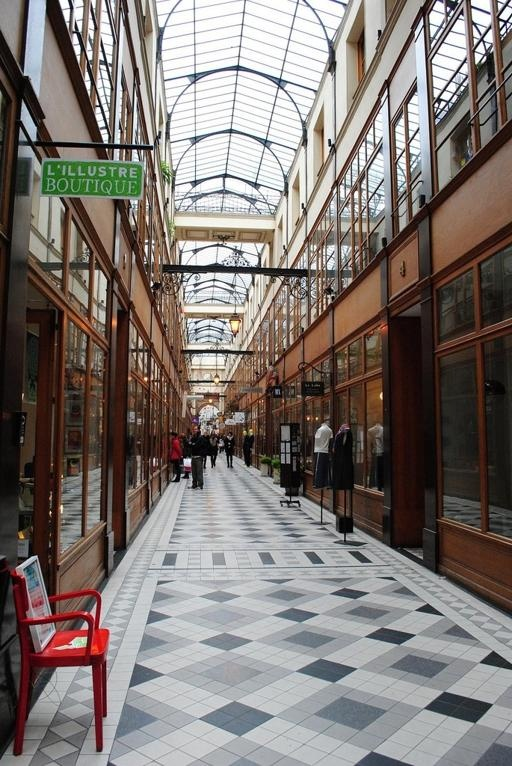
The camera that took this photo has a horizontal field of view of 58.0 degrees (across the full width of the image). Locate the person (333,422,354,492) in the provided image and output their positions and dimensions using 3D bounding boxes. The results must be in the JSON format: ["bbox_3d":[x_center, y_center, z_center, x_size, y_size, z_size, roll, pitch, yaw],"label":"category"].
[{"bbox_3d":[1.453,1.244,7.751,0.307,1.064,0.274,0,-8,6],"label":"person"}]

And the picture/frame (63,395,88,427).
[{"bbox_3d":[-1.548,0.237,3.919,0.107,0.275,0.244,0,-9,-5],"label":"picture/frame"}]

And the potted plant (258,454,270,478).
[{"bbox_3d":[0.345,3.649,20.235,0.579,1.079,0.807,3,-10,6],"label":"potted plant"}]

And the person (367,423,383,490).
[{"bbox_3d":[2.042,1.249,7.875,0.204,1.125,0.894,-1,-9,11],"label":"person"}]

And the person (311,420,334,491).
[{"bbox_3d":[1.391,1.452,9.565,0.302,1.315,1.936,-1,-10,10],"label":"person"}]
